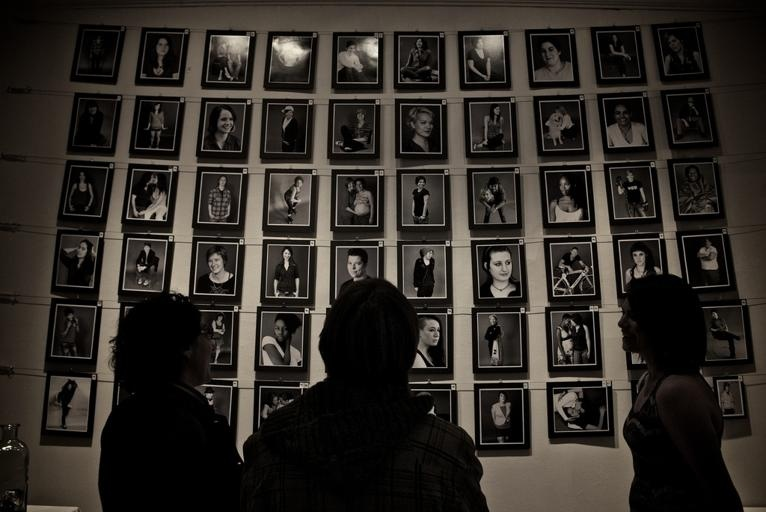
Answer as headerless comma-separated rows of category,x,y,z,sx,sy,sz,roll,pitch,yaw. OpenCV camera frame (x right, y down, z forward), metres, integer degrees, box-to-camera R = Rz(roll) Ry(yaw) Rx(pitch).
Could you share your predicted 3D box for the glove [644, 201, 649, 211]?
glove,2.756,-0.525,7.109,0.045,0.071,0.025,1,-4,0
